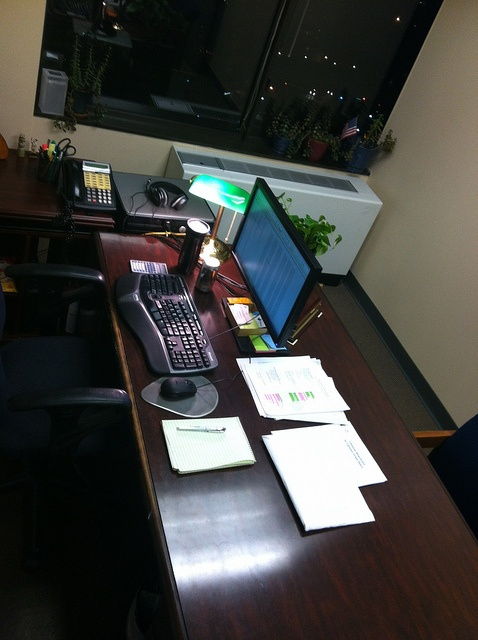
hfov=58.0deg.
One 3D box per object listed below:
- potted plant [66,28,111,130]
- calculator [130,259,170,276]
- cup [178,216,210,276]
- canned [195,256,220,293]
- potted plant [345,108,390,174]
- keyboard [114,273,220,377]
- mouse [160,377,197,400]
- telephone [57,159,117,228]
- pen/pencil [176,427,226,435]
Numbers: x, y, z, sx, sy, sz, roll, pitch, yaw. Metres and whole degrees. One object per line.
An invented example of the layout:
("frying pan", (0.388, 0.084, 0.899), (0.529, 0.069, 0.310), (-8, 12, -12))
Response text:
("potted plant", (-0.908, -1.438, 2.627), (0.268, 0.438, 0.212), (-5, 44, -42))
("calculator", (-0.367, -0.209, 1.751), (0.125, 0.014, 0.076), (0, 51, -28))
("cup", (-0.189, -0.300, 1.819), (0.123, 0.262, 0.135), (15, 33, -10))
("canned", (-0.128, -0.179, 1.757), (0.076, 0.138, 0.084), (5, 34, -17))
("potted plant", (1.034, -1.453, 3.461), (0.236, 0.442, 0.271), (-4, 50, -29))
("keyboard", (-0.277, 0.125, 1.524), (0.272, 0.067, 0.562), (8, 36, -31))
("mouse", (-0.181, 0.200, 1.270), (0.082, 0.029, 0.063), (3, 42, -33))
("telephone", (-0.719, -0.661, 2.079), (0.228, 0.111, 0.326), (2, 50, -28))
("pen/pencil", (-0.111, 0.308, 1.203), (0.109, 0.018, 0.018), (3, 24, -16))
